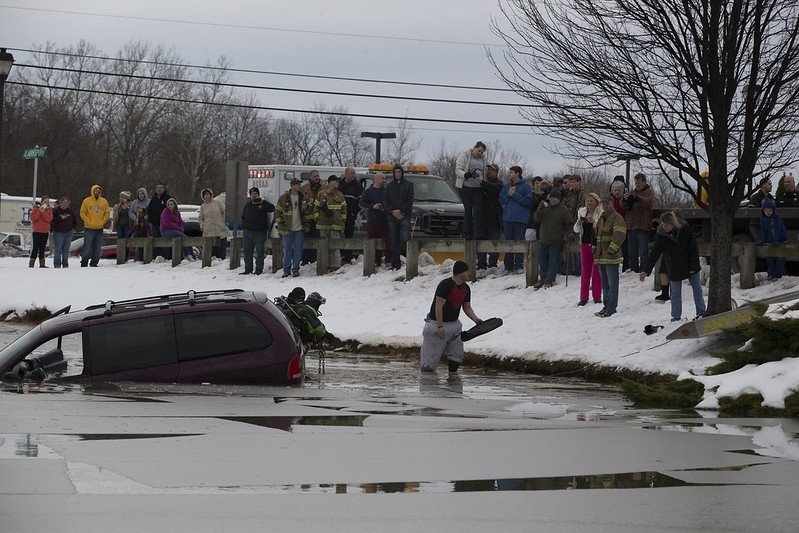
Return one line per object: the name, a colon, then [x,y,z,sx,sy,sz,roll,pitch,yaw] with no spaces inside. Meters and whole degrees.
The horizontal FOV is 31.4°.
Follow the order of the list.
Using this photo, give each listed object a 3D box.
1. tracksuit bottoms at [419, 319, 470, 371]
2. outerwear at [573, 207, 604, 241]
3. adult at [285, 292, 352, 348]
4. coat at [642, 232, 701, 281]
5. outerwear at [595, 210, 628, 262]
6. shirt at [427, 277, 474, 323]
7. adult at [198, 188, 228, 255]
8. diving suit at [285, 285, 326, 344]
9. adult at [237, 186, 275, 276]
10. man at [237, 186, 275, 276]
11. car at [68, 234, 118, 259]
tracksuit bottoms: [0.927,1.574,28.753,0.960,1.412,0.499,1,-1,-28]
outerwear: [3.956,-1.055,30.192,0.731,0.952,0.526,-2,-14,9]
adult: [-1.635,1.068,27.524,0.899,1.225,0.871,13,11,27]
coat: [5.613,-0.216,29.152,0.772,0.848,0.393,-5,-19,14]
outerwear: [4.397,-0.677,29.614,0.559,1.352,0.871,7,-8,-31]
shirt: [1.071,0.697,29.059,0.728,0.817,0.440,17,12,24]
adult: [-4.985,-1.096,38.287,0.724,2.046,0.693,-9,-23,-6]
diving suit: [-1.800,0.955,27.659,0.902,1.215,0.858,-5,3,-19]
adult: [-3.600,-0.898,35.982,0.702,2.255,0.996,-5,11,-23]
man: [-3.608,-0.901,36.000,0.702,2.255,0.956,-5,11,-24]
car: [-9.864,-0.650,45.896,1.891,0.794,0.927,-7,2,-4]
